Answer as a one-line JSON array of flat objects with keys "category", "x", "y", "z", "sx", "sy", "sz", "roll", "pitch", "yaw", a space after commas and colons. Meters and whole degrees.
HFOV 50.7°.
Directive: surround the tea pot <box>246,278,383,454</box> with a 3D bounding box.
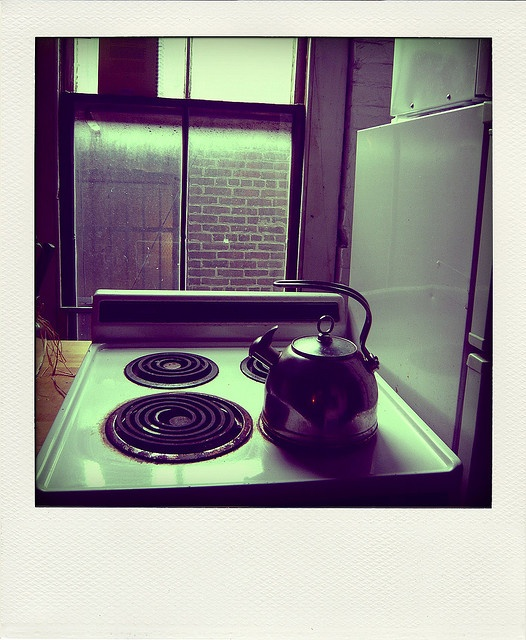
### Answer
[{"category": "tea pot", "x": 0.062, "y": 0.040, "z": 0.636, "sx": 0.139, "sy": 0.179, "sz": 0.144, "roll": 2, "pitch": 13, "yaw": -1}]
